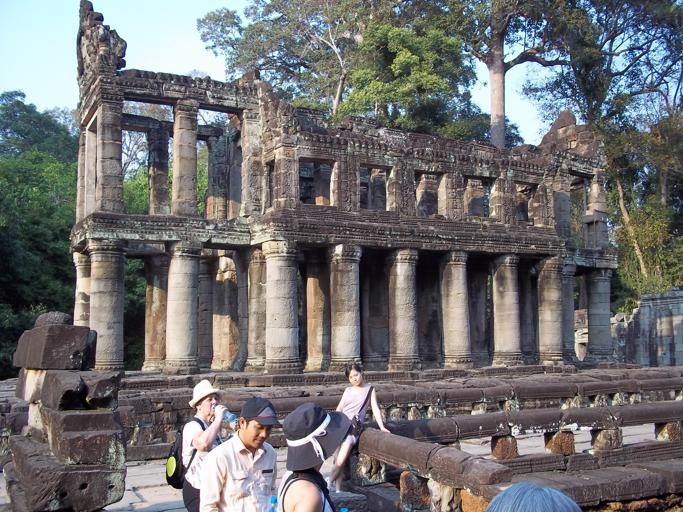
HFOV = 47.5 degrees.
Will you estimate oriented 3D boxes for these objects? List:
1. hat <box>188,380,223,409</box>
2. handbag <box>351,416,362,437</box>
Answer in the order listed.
[{"bbox_3d":[-1.886,1.835,10.279,0.417,0.209,0.491,-12,-23,-50],"label":"hat"},{"bbox_3d":[0.229,2.553,11.641,0.098,0.383,0.262,10,-7,-12],"label":"handbag"}]
